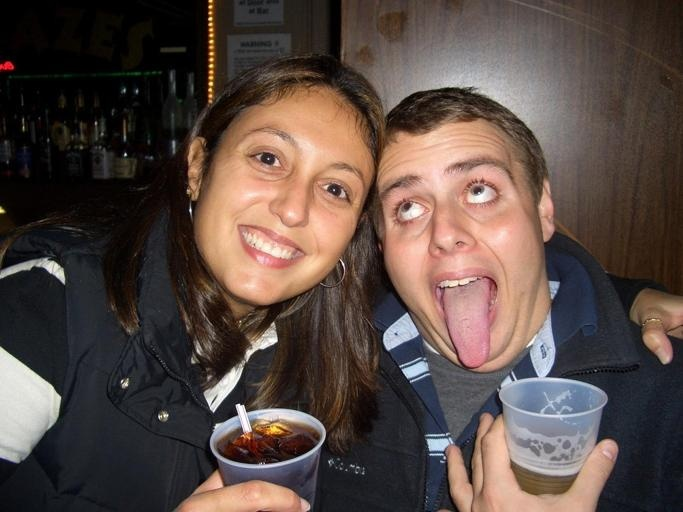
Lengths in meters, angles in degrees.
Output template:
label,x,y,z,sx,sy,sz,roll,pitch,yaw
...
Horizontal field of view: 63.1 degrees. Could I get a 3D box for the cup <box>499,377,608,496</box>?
label,x,y,z,sx,sy,sz,roll,pitch,yaw
cup,0.790,0.718,2.149,0.346,0.369,0.351,0,9,0

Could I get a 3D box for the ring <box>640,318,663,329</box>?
label,x,y,z,sx,sy,sz,roll,pitch,yaw
ring,1.437,0.307,2.575,0.073,0.033,0.059,0,2,16

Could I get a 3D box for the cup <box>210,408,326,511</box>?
label,x,y,z,sx,sy,sz,roll,pitch,yaw
cup,-0.248,0.696,1.949,0.362,0.289,0.380,-1,18,0
